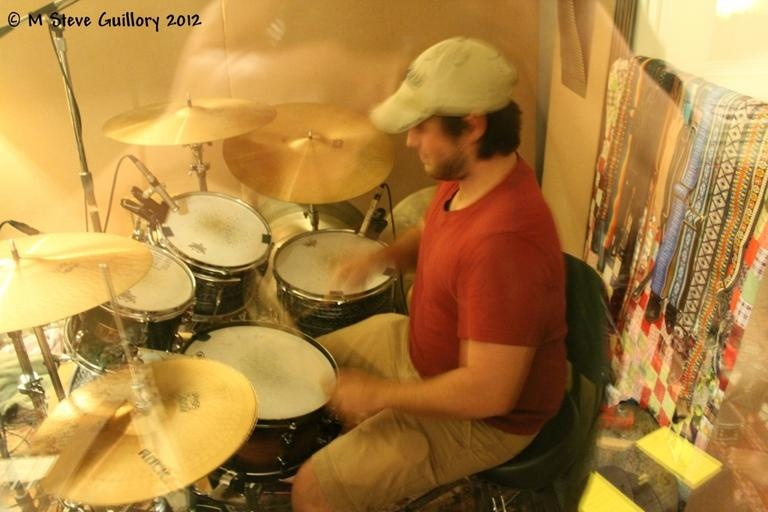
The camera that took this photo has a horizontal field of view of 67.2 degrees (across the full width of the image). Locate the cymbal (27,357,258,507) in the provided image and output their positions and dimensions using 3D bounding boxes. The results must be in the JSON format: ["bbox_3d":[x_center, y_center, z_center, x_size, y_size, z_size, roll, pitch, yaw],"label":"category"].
[{"bbox_3d":[-0.659,0.468,1.590,0.587,0.193,0.428,4,25,9],"label":"cymbal"}]

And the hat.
[{"bbox_3d":[0.185,-0.533,1.739,0.464,0.218,0.315,-10,30,-11],"label":"hat"}]

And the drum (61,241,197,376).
[{"bbox_3d":[-0.810,0.163,2.210,0.389,0.371,0.368,-9,35,5],"label":"drum"}]

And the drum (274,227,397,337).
[{"bbox_3d":[-0.172,0.125,2.496,0.456,0.438,0.433,-3,62,13],"label":"drum"}]

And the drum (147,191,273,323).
[{"bbox_3d":[-0.683,0.023,2.506,0.532,0.315,0.489,15,45,-16],"label":"drum"}]
